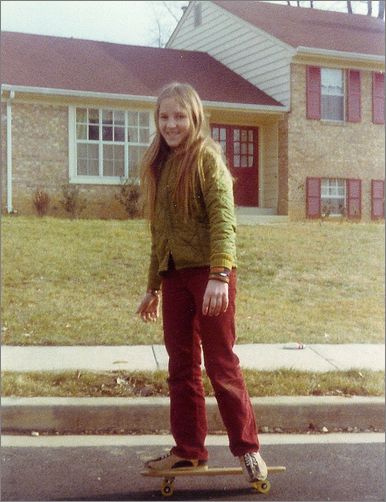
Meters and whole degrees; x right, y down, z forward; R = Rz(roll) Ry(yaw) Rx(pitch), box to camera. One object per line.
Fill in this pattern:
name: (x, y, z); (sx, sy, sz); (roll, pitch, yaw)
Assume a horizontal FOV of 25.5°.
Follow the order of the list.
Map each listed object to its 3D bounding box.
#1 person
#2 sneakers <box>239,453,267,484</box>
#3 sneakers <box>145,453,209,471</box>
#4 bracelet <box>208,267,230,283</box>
person: (0.008, 0.177, 5.340); (0.561, 2.488, 0.870); (-1, 3, -29)
sneakers: (0.366, 1.314, 5.192); (0.124, 0.210, 0.066); (-13, -25, -29)
sneakers: (-0.094, 1.323, 5.360); (0.384, 0.184, 0.141); (2, -13, 4)
bracelet: (0.164, 0.140, 5.004); (0.086, 0.077, 0.093); (3, 2, 12)
